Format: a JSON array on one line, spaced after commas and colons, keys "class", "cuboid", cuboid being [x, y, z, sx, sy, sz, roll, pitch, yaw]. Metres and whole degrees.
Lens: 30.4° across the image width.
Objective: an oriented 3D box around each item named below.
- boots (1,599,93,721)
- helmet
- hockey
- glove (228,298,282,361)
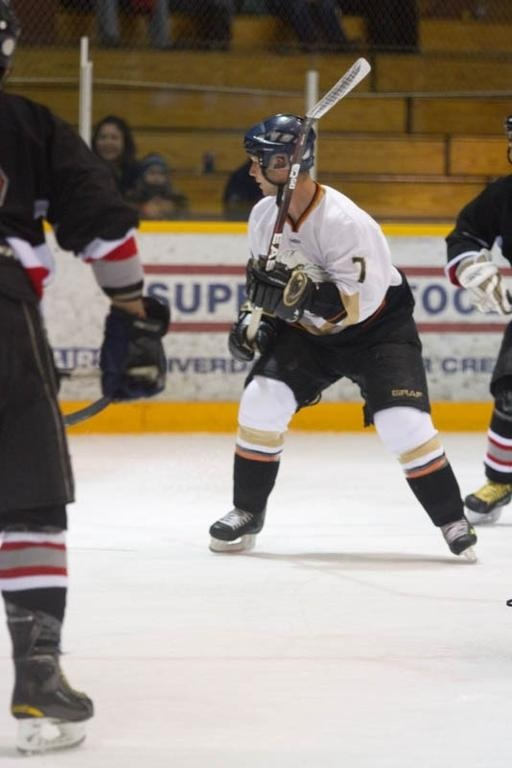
[{"class": "boots", "cuboid": [-0.316, 0.426, 1.446, 0.119, 0.167, 0.120, -3, 26, -15]}, {"class": "helmet", "cuboid": [0.080, -0.703, 2.752, 0.205, 0.145, 0.216, 12, 25, 17]}, {"class": "hockey", "cuboid": [0.166, -0.538, 2.869, 0.287, 0.879, 0.564, 16, 28, 20]}, {"class": "glove", "cuboid": [0.014, -0.159, 3.040, 0.164, 0.194, 0.106, 26, 3, 33]}]
